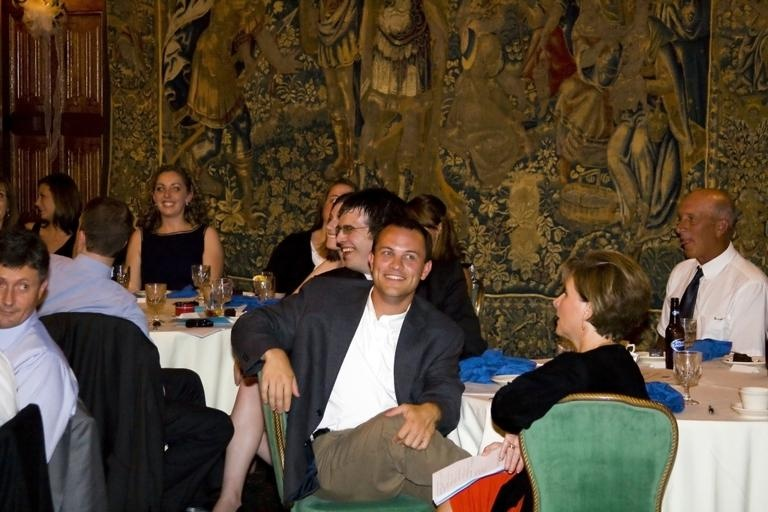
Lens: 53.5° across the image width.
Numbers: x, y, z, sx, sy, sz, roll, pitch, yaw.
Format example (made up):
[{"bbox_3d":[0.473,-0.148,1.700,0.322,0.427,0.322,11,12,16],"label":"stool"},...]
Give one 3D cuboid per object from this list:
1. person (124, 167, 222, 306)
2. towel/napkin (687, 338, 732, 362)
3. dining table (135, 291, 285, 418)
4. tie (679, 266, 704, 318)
[{"bbox_3d":[-1.758,-0.113,6.289,0.845,1.248,0.807,-3,0,-30],"label":"person"},{"bbox_3d":[1.999,0.564,4.676,0.218,0.081,0.219,0,9,8],"label":"towel/napkin"},{"bbox_3d":[-1.248,0.681,4.999,0.676,0.502,0.686,0,-5,3],"label":"dining table"},{"bbox_3d":[2.092,0.264,5.227,0.099,0.435,0.047,18,45,26],"label":"tie"}]
